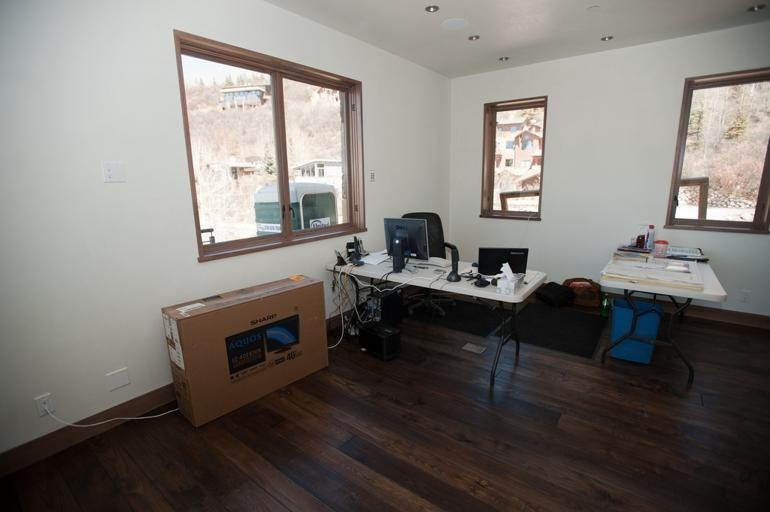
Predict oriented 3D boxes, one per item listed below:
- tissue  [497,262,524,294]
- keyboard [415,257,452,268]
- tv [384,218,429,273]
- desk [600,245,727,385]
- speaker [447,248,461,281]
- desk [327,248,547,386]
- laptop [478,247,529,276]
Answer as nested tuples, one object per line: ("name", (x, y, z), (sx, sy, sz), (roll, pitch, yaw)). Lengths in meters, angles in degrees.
("tissue ", (1.255, 0.222, 4.804), (0.143, 0.247, 0.260), (5, 14, 40))
("keyboard", (0.569, 0.082, 5.575), (0.233, 0.054, 0.178), (5, 12, 34))
("tv", (0.236, -0.115, 5.371), (0.506, 0.515, 0.260), (9, 26, 30))
("desk", (2.928, 0.275, 5.201), (1.219, 1.179, 2.293), (3, 11, 28))
("speaker", (0.750, 0.055, 5.224), (0.142, 0.323, 0.519), (1, 13, 9))
("desk", (0.830, 0.428, 6.179), (2.448, 1.196, 2.416), (6, 15, 28))
("laptop", (1.211, 0.032, 4.982), (0.446, 0.304, 0.300), (3, 13, 26))
